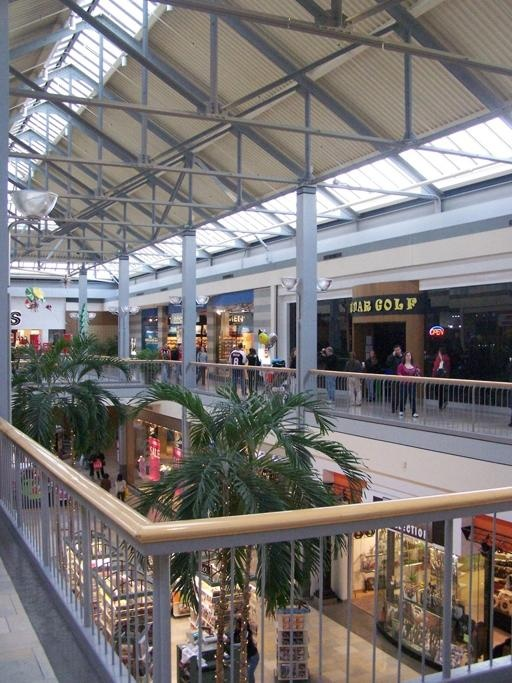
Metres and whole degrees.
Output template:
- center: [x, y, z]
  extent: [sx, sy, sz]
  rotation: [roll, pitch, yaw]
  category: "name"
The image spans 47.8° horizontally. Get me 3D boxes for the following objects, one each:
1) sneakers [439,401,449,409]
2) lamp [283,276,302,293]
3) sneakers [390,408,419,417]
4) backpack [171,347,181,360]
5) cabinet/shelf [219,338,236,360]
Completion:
- center: [2.851, 0.922, 8.787]
  extent: [0.061, 0.170, 0.172]
  rotation: [0, -2, -21]
  category: "sneakers"
- center: [0.743, -1.228, 12.171]
  extent: [0.329, 0.266, 0.684]
  rotation: [-1, -2, 8]
  category: "lamp"
- center: [2.436, 1.143, 9.446]
  extent: [0.043, 0.102, 0.583]
  rotation: [0, -2, -29]
  category: "sneakers"
- center: [-2.751, 0.369, 19.849]
  extent: [0.382, 0.463, 0.393]
  rotation: [-2, -7, 38]
  category: "backpack"
- center: [-1.130, 0.213, 23.231]
  extent: [0.408, 0.882, 0.869]
  rotation: [1, -2, -25]
  category: "cabinet/shelf"
